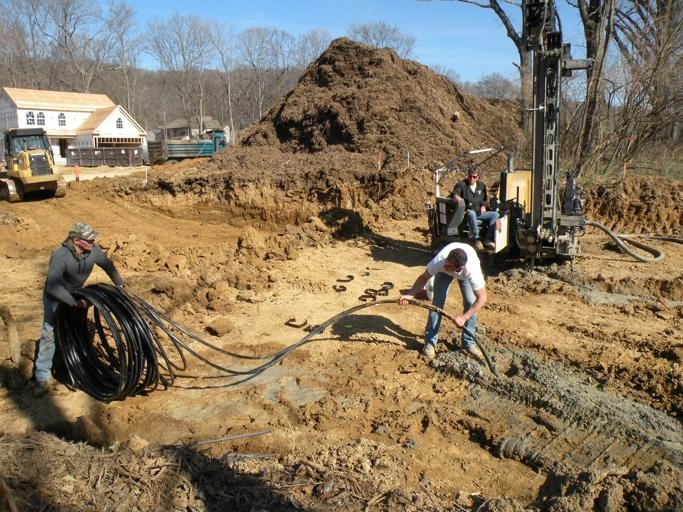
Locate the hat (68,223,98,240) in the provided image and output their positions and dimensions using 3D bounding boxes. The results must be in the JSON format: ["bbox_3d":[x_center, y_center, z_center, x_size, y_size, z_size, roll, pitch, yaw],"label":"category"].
[{"bbox_3d":[-3.282,-0.269,6.516,0.289,0.158,0.214,8,16,-29],"label":"hat"}]

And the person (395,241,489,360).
[{"bbox_3d":[1.436,0.659,6.888,0.941,1.647,0.944,5,14,19],"label":"person"}]

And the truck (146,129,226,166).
[{"bbox_3d":[-8.202,-5.988,28.795,4.095,1.816,4.845,-11,17,-41],"label":"truck"}]

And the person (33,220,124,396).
[{"bbox_3d":[-3.521,0.661,6.763,1.144,2.189,0.771,-7,15,-29],"label":"person"}]

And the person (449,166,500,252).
[{"bbox_3d":[2.670,-0.980,10.430,0.855,1.674,0.961,2,-1,0],"label":"person"}]

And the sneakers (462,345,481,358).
[{"bbox_3d":[1.827,1.317,7.121,0.160,0.084,0.297,-6,18,-12],"label":"sneakers"}]

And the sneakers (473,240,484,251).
[{"bbox_3d":[2.719,-0.191,10.204,0.128,0.216,0.070,-23,-3,16],"label":"sneakers"}]
